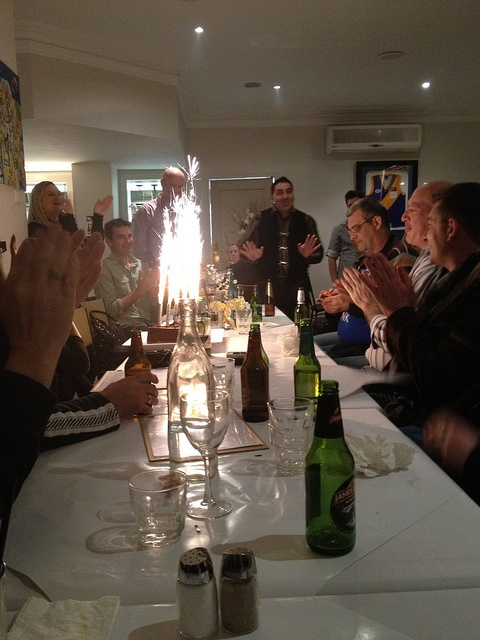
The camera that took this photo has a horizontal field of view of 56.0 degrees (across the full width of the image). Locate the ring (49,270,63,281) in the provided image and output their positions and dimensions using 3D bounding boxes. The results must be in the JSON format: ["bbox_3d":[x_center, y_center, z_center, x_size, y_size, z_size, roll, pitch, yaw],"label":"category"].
[{"bbox_3d":[-0.240,-0.059,0.591,0.013,0.010,0.014,8,15,-2],"label":"ring"}]

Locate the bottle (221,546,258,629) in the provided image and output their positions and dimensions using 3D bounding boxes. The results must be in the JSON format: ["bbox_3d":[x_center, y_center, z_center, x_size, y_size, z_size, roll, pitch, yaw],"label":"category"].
[{"bbox_3d":[-0.001,0.258,0.430,0.038,0.071,0.030,-1,2,0],"label":"bottle"}]

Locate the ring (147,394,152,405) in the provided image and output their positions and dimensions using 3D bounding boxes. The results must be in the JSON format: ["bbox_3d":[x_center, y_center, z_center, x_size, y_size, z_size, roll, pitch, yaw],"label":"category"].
[{"bbox_3d":[-0.244,0.216,1.222,0.014,0.020,0.007,0,-2,-32],"label":"ring"}]

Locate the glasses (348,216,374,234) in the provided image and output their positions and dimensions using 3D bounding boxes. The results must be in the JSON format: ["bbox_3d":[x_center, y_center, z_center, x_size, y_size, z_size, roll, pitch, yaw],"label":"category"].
[{"bbox_3d":[0.746,-0.600,2.809,0.083,0.025,0.080,-37,9,-19],"label":"glasses"}]

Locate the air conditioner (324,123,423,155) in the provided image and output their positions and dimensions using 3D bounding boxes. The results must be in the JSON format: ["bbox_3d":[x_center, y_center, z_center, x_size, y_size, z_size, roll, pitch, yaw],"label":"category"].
[{"bbox_3d":[1.916,-2.625,6.465,1.354,0.362,0.123,-1,2,-2],"label":"air conditioner"}]

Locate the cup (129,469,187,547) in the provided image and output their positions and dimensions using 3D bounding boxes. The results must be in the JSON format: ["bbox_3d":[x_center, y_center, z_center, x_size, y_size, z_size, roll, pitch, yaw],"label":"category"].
[{"bbox_3d":[-0.117,0.275,0.652,0.087,0.095,0.088,-1,2,0],"label":"cup"}]

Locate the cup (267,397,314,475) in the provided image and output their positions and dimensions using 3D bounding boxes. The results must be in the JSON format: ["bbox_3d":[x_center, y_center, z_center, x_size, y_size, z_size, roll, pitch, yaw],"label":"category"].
[{"bbox_3d":[0.104,0.226,0.882,0.097,0.131,0.097,-1,-7,0],"label":"cup"}]

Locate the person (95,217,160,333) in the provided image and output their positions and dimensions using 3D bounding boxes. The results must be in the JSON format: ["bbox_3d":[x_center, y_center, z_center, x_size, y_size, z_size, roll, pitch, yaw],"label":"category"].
[{"bbox_3d":[-0.992,-0.374,4.010,0.345,0.351,1.001,11,-30,-11],"label":"person"}]

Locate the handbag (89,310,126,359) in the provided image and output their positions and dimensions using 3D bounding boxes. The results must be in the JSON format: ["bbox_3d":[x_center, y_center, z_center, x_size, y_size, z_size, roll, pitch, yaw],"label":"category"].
[{"bbox_3d":[-0.830,0.091,2.808,0.109,0.283,0.173,-15,-1,19],"label":"handbag"}]

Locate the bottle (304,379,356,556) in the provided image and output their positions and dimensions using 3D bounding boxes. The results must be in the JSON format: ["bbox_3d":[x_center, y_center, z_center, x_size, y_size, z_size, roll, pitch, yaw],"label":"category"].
[{"bbox_3d":[0.120,0.184,0.599,0.065,0.221,0.101,-1,2,13],"label":"bottle"}]
